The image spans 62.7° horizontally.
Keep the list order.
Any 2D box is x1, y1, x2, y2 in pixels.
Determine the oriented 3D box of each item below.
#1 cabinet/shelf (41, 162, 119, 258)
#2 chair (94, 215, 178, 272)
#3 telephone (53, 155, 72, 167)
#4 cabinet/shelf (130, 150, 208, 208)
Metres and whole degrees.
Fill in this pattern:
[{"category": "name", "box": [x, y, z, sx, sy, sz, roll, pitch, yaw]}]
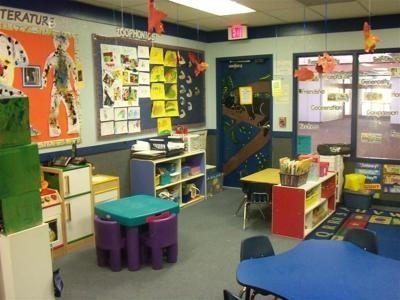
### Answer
[{"category": "cabinet/shelf", "box": [-1.665, 0.855, 4.464, 0.451, 1.216, 1.206, 2, 5, 26]}, {"category": "chair", "box": [-0.810, 1.212, 4.194, 0.801, 0.503, 0.816, 1, 2, 33]}, {"category": "telephone", "box": [-1.956, 0.162, 4.666, 0.246, 0.115, 0.268, -1, 11, -3]}, {"category": "cabinet/shelf", "box": [-0.598, 0.523, 5.966, 0.370, 0.683, 1.066, 1, 5, 28]}]
